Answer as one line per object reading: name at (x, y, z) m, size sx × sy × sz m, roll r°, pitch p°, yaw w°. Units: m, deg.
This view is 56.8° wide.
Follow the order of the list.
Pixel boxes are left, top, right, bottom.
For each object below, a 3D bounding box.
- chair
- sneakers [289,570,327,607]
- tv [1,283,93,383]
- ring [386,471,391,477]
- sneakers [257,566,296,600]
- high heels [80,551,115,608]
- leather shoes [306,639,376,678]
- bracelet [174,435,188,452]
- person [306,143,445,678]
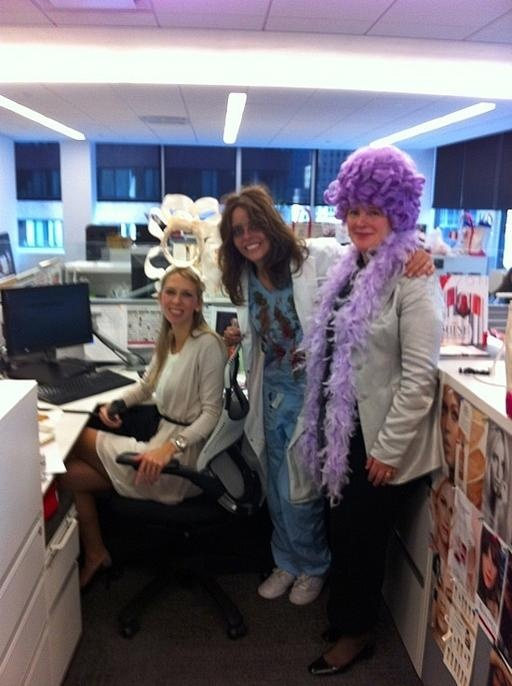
chair at (-0.217, 0.471, 2.100) m, size 0.813 × 1.455 × 0.839 m, roll 2°, pitch 0°, yaw -4°
sneakers at (0.184, 0.904, 1.745) m, size 0.058 × 0.066 × 0.163 m, roll 1°, pitch -1°, yaw 21°
tv at (-0.909, -0.042, 2.015) m, size 0.180 × 0.332 × 0.352 m, roll 7°, pitch 13°, yaw 33°
ring at (0.333, 0.323, 1.165) m, size 0.012 × 0.018 × 0.009 m, roll -2°, pitch -8°, yaw 13°
sneakers at (0.076, 0.893, 1.787) m, size 0.067 × 0.062 × 0.148 m, roll 0°, pitch 0°, yaw 34°
high heels at (-0.576, 0.883, 1.775) m, size 0.059 × 0.119 × 0.184 m, roll -15°, pitch -7°, yaw 21°
leather shoes at (0.273, 0.952, 1.469) m, size 0.231 × 0.067 × 0.082 m, roll -4°, pitch 8°, yaw -25°
bracelet at (-0.248, 0.328, 1.535) m, size 0.040 × 0.043 × 0.019 m, roll 14°, pitch -11°, yaw 9°
person at (0.295, 0.162, 1.305) m, size 0.227 × 1.322 × 0.429 m, roll -4°, pitch 10°, yaw -43°
